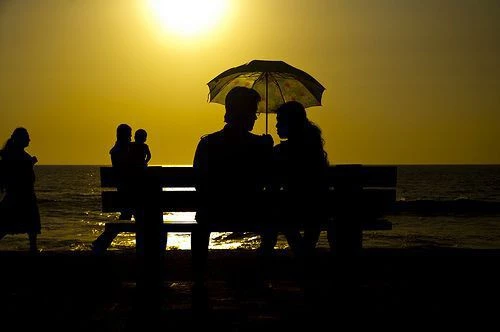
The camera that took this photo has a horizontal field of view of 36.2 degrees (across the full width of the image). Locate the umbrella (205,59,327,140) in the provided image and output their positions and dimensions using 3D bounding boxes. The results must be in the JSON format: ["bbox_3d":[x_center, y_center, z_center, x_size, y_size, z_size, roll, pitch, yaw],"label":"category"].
[{"bbox_3d":[0.311,-1.406,18.451,3.172,1.885,2.950,1,-5,5],"label":"umbrella"}]
